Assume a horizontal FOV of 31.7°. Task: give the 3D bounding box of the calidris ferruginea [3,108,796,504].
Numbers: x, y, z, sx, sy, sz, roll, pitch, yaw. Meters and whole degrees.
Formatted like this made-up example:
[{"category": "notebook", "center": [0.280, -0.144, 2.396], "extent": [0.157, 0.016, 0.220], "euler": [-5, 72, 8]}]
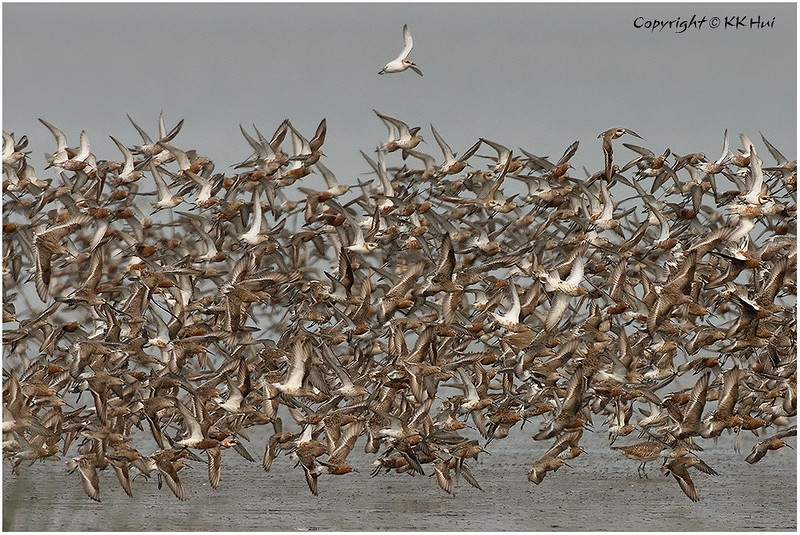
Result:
[{"category": "calidris ferruginea", "center": [-1.286, 0.839, 23.807], "extent": [7.840, 3.331, 10.198], "euler": [0, 1, -43]}]
